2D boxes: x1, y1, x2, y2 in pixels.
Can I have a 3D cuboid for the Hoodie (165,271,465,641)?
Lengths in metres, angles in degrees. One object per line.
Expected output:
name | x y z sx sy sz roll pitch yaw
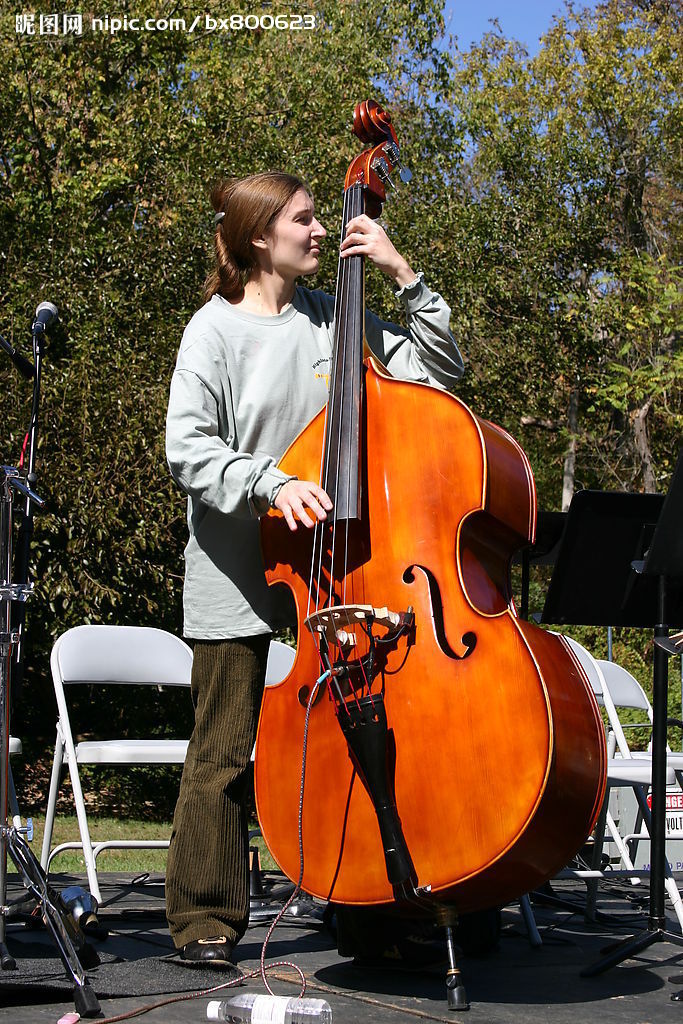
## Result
Hoodie | -0.211 -0.105 3.846 0.618 1.048 0.334 1 -7 -6

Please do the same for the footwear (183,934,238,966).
footwear | -0.326 1.032 3.594 0.138 0.067 0.125 2 5 3

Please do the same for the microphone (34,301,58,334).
microphone | -0.843 -0.536 4.217 0.053 0.055 0.114 13 27 5

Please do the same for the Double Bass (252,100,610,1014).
Double Bass | 0.172 0.155 3.389 0.814 1.402 0.495 7 8 41
